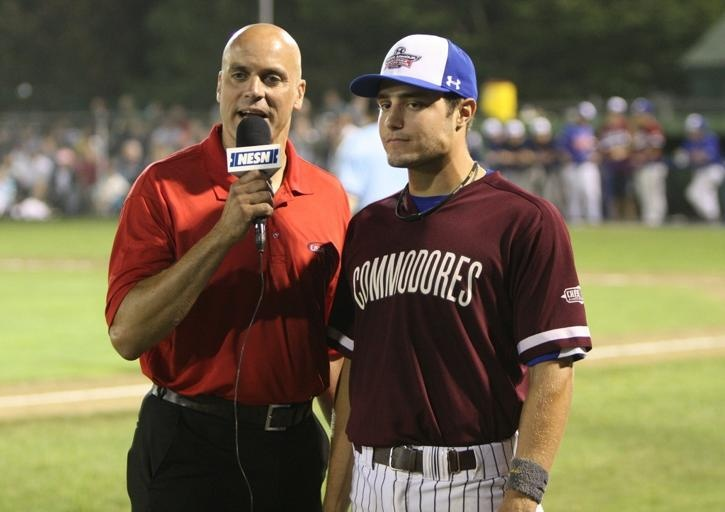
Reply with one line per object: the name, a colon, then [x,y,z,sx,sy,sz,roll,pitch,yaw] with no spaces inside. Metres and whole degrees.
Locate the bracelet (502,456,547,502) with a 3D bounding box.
bracelet: [0.958,1.283,6.317,0.226,0.192,0.237,15,-12,32]

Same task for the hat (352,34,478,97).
hat: [0.361,-1.132,6.598,0.543,0.302,0.440,12,1,-7]
